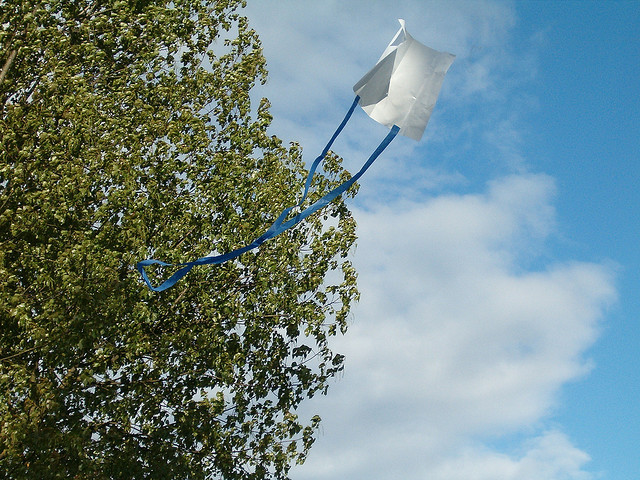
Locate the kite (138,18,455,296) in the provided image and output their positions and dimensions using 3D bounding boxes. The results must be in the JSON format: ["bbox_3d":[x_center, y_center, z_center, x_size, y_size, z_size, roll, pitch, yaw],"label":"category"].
[{"bbox_3d":[-1.360,-1.207,21.864,1.654,1.284,5.529,43,-89,-16],"label":"kite"}]

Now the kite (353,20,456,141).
[{"bbox_3d":[1.210,-2.568,20.708,1.222,1.008,1.137,22,-50,-7],"label":"kite"}]
